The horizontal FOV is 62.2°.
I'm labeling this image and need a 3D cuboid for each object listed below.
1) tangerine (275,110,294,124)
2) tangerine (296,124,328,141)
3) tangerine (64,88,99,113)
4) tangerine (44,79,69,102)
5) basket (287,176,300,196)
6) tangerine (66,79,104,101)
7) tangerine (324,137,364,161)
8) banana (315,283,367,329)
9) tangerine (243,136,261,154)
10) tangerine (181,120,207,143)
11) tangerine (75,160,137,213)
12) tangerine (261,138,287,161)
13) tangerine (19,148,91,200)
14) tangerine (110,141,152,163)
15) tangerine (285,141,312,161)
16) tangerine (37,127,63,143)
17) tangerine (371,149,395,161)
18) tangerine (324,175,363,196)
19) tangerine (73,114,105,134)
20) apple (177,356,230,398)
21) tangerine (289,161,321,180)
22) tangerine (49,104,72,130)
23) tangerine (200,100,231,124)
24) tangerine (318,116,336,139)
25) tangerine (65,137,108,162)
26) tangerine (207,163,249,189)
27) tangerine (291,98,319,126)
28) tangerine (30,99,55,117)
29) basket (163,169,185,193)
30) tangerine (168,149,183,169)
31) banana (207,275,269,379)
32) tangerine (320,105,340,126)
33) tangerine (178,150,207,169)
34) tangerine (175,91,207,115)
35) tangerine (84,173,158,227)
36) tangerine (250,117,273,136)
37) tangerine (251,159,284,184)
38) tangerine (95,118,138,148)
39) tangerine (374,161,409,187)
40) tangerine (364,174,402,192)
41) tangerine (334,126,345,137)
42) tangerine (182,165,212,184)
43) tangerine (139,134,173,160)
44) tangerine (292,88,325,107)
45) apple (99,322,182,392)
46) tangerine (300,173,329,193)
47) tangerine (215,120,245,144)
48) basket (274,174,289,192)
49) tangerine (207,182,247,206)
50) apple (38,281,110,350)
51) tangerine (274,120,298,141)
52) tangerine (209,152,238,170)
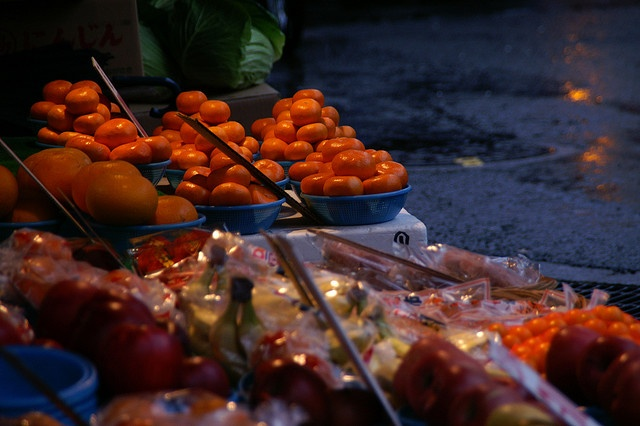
[{"bbox_3d":[-0.151,-0.392,2.206,0.061,0.068,0.060,8,-18,-26],"label":"tangerine"},{"bbox_3d":[-0.021,-0.302,2.101,0.084,0.042,0.085,-9,-1,29],"label":"tangerine"},{"bbox_3d":[-0.876,-0.413,1.944,0.121,0.106,0.129,9,14,41],"label":"tangerine"},{"bbox_3d":[-1.039,-0.485,2.143,0.108,0.059,0.084,-15,31,-4],"label":"tangerine"},{"bbox_3d":[-0.102,-0.107,2.044,0.073,0.052,0.072,1,6,-5],"label":"basket"},{"bbox_3d":[-0.921,-0.495,2.077,0.134,0.071,0.132,0,8,-1],"label":"tangerine"},{"bbox_3d":[0.087,-0.229,1.999,0.104,0.055,0.105,2,4,30],"label":"tangerine"},{"bbox_3d":[0.040,0.127,0.847,0.076,0.034,0.086,-8,27,-3],"label":"banana"},{"bbox_3d":[-0.275,-0.271,2.120,0.070,0.065,0.066,0,-5,-21],"label":"tangerine"},{"bbox_3d":[-0.490,-0.315,2.068,0.088,0.103,0.088,2,6,5],"label":"tangerine"},{"bbox_3d":[-0.557,-0.062,1.370,0.143,0.102,0.144,1,4,4],"label":"tangerine"},{"bbox_3d":[-0.180,-0.253,2.114,0.094,0.089,0.092,1,8,5],"label":"tangerine"},{"bbox_3d":[-0.705,-0.116,1.461,0.170,0.116,0.161,-3,6,17],"label":"tangerine"},{"bbox_3d":[-0.585,-0.185,1.657,0.090,0.051,0.092,-1,-2,-17],"label":"tangerine"},{"bbox_3d":[-0.087,-0.241,2.071,0.084,0.062,0.081,-18,9,-10],"label":"tangerine"},{"bbox_3d":[-0.999,-0.287,1.975,0.071,0.064,0.072,12,13,34],"label":"tangerine"},{"bbox_3d":[0.235,-0.218,2.002,0.057,0.058,0.059,6,26,45],"label":"tangerine"},{"bbox_3d":[0.082,-0.089,1.797,0.086,0.044,0.081,-2,5,-43],"label":"tangerine"},{"bbox_3d":[-0.821,-0.313,1.875,0.091,0.063,0.085,-6,-2,-20],"label":"tangerine"},{"bbox_3d":[-0.168,0.220,0.759,0.059,0.057,0.058,0,3,-30],"label":"apple"},{"bbox_3d":[-0.060,-0.159,1.950,0.081,0.043,0.080,-8,0,1],"label":"tangerine"},{"bbox_3d":[-0.947,-0.343,1.933,0.089,0.080,0.086,-2,25,-35],"label":"tangerine"},{"bbox_3d":[-0.415,-0.390,2.088,0.098,0.076,0.101,1,10,-3],"label":"tangerine"},{"bbox_3d":[0.040,-0.347,2.165,0.082,0.093,0.081,-2,5,4],"label":"tangerine"},{"bbox_3d":[-0.734,-0.210,1.688,0.115,0.062,0.112,26,5,-4],"label":"tangerine"},{"bbox_3d":[-0.302,-0.119,1.716,0.093,0.050,0.088,-18,7,-30],"label":"tangerine"},{"bbox_3d":[-0.059,-0.403,2.137,0.120,0.118,0.120,1,20,4],"label":"tangerine"},{"bbox_3d":[-1.116,-0.408,2.132,0.083,0.056,0.083,1,6,40],"label":"tangerine"},{"bbox_3d":[-0.536,-0.120,1.990,0.086,0.060,0.082,4,10,17],"label":"basket"},{"bbox_3d":[-0.531,-0.201,1.950,0.073,0.068,0.071,1,8,5],"label":"tangerine"},{"bbox_3d":[-0.121,0.176,0.798,0.056,0.057,0.153,-24,-25,-21],"label":"banana"},{"bbox_3d":[0.046,-0.423,2.296,0.082,0.095,0.081,-1,2,2],"label":"tangerine"},{"bbox_3d":[-0.464,-0.187,1.922,0.075,0.052,0.076,-4,-6,33],"label":"tangerine"},{"bbox_3d":[-0.518,-0.442,2.117,0.102,0.078,0.106,0,13,3],"label":"tangerine"},{"bbox_3d":[-0.472,-0.034,1.267,0.140,0.094,0.136,1,0,-12],"label":"tangerine"},{"bbox_3d":[-0.258,-0.382,2.409,0.110,0.060,0.087,0,18,38],"label":"tangerine"},{"bbox_3d":[-0.186,-0.151,1.925,0.098,0.076,0.152,-2,27,8],"label":"tangerine"},{"bbox_3d":[-0.656,-0.264,1.757,0.125,0.094,0.092,2,33,15],"label":"tangerine"},{"bbox_3d":[0.258,-0.138,1.925,0.099,0.090,0.098,-2,3,-26],"label":"tangerine"},{"bbox_3d":[0.211,-0.091,1.819,0.078,0.037,0.079,-3,2,33],"label":"tangerine"},{"bbox_3d":[0.082,-0.344,2.237,0.043,0.051,0.044,0,2,5],"label":"tangerine"},{"bbox_3d":[-0.415,-0.133,1.820,0.065,0.032,0.066,5,15,45],"label":"tangerine"},{"bbox_3d":[-0.535,-0.209,1.728,0.087,0.057,0.085,0,1,0],"label":"tangerine"},{"bbox_3d":[-0.057,-0.485,2.243,0.112,0.109,0.111,-18,31,-41],"label":"tangerine"},{"bbox_3d":[-0.230,0.194,0.735,0.078,0.100,0.101,2,8,-18],"label":"apple"},{"bbox_3d":[-0.021,-0.097,1.851,0.077,0.040,0.077,-5,-2,-4],"label":"tangerine"},{"bbox_3d":[-0.360,-0.314,2.080,0.087,0.082,0.086,-1,2,-3],"label":"tangerine"},{"bbox_3d":[-0.138,-0.111,1.957,0.057,0.026,0.055,-5,12,-13],"label":"basket"},{"bbox_3d":[-0.288,-0.057,1.691,0.084,0.045,0.082,-2,2,-41],"label":"tangerine"},{"bbox_3d":[-0.375,0.132,0.802,0.098,0.094,0.097,5,10,-6],"label":"apple"},{"bbox_3d":[-0.136,-0.325,2.128,0.083,0.080,0.079,6,20,11],"label":"tangerine"},{"bbox_3d":[-0.331,-0.178,1.825,0.075,0.072,0.075,0,8,10],"label":"tangerine"}]
